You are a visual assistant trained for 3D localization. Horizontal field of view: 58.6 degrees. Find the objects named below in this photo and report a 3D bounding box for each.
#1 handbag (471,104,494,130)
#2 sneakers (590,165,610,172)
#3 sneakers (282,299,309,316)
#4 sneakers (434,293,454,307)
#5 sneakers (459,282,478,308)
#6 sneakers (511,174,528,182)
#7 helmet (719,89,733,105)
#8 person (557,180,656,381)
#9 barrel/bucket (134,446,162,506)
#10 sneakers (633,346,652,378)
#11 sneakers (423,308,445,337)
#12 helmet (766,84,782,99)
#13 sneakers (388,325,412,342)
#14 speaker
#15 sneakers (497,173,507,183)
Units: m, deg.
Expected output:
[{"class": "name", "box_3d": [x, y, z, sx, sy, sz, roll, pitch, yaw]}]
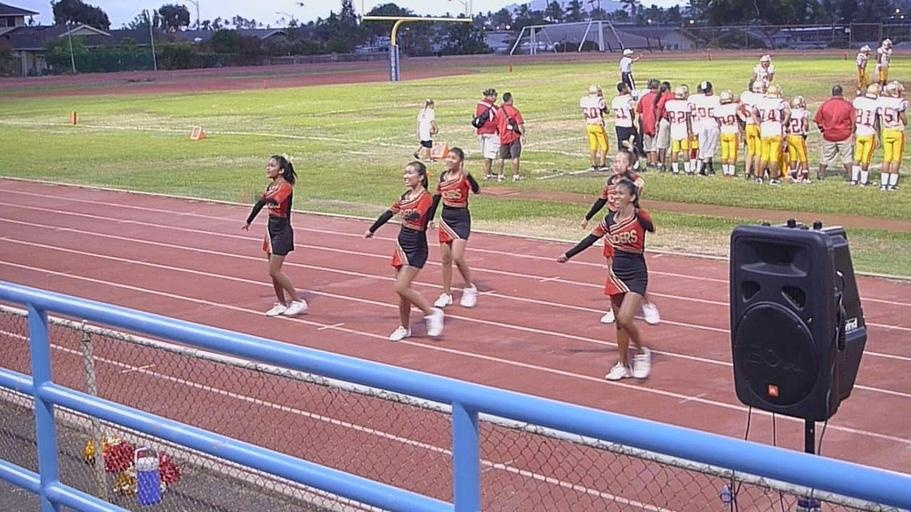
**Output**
[{"class": "handbag", "box_3d": [0.837, -3.934, 23.225, 0.273, 0.632, 0.464, 42, -1, -43]}, {"class": "sneakers", "box_3d": [4.440, -2.653, 24.853, 0.583, 0.213, 0.203, 2, 3, -29]}, {"class": "sneakers", "box_3d": [-2.621, 0.853, 13.221, 0.173, 0.159, 0.405, 3, 13, 39]}, {"class": "sneakers", "box_3d": [-0.190, 0.751, 13.543, 0.160, 0.130, 0.357, 1, 1, 26]}, {"class": "sneakers", "box_3d": [0.213, 0.669, 13.504, 0.226, 0.407, 0.172, 9, -28, 24]}, {"class": "sneakers", "box_3d": [1.838, -2.270, 23.738, 0.451, 0.175, 0.157, -20, 38, -38]}, {"class": "helmet", "box_3d": [7.643, -4.479, 22.852, 0.307, 0.260, 0.494, 2, 37, 23]}, {"class": "person", "box_3d": [2.167, 0.310, 10.831, 0.955, 2.628, 1.171, 1, 13, 12]}, {"class": "barrel/bucket", "box_3d": [-3.192, 2.267, 8.354, 0.253, 0.515, 0.431, -7, 14, -22]}, {"class": "sneakers", "box_3d": [2.502, 1.443, 10.833, 0.207, 0.426, 0.174, 7, -25, 34]}, {"class": "sneakers", "box_3d": [-0.324, 1.006, 12.113, 0.259, 0.278, 0.439, -1, 11, 1]}, {"class": "helmet", "box_3d": [8.397, -4.294, 21.348, 0.323, 0.319, 0.425, 3, 13, 17]}, {"class": "sneakers", "box_3d": [-0.839, 1.185, 12.273, 0.161, 0.158, 0.387, 4, 7, 37]}, {"class": "speaker", "box_3d": [3.033, 0.562, 7.244, 1.137, 1.663, 0.688, 4, 14, 20]}, {"class": "sneakers", "box_3d": [1.323, -2.249, 23.661, 0.142, 0.157, 0.398, 4, 22, 19]}]
